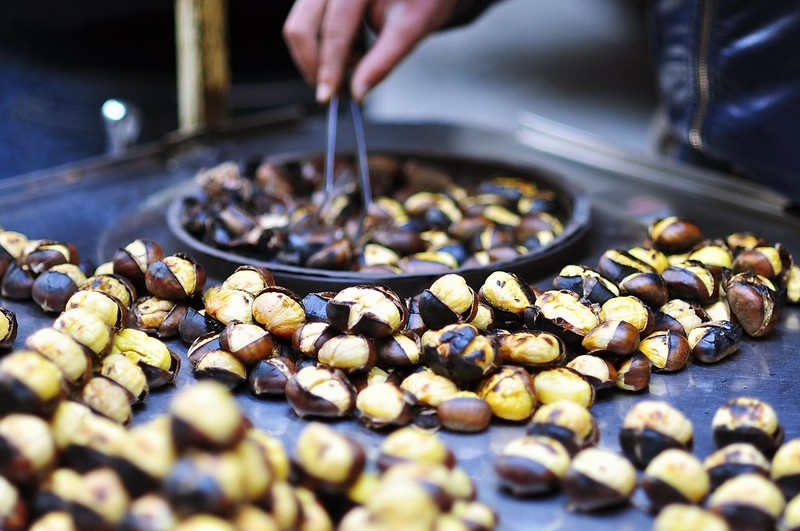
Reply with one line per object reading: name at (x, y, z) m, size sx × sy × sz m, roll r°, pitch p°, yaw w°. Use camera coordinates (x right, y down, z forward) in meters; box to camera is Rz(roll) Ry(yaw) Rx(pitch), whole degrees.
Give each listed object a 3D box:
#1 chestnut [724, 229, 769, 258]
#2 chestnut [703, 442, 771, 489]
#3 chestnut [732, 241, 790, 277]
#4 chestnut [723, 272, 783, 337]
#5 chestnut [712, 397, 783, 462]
chestnut at (0.892, -0.058, 2.016) m, size 0.092 × 0.056 × 0.080 m, roll 0°, pitch 8°, yaw 31°
chestnut at (0.628, 0.371, 1.458) m, size 0.086 × 0.053 × 0.096 m, roll 8°, pitch 61°, yaw 31°
chestnut at (0.898, -0.016, 1.916) m, size 0.102 × 0.064 × 0.083 m, roll -1°, pitch 3°, yaw -26°
chestnut at (0.816, 0.088, 1.801) m, size 0.064 × 0.140 × 0.130 m, roll -27°, pitch 17°, yaw -18°
chestnut at (0.679, 0.311, 1.516) m, size 0.107 × 0.068 × 0.115 m, roll 2°, pitch 42°, yaw 3°
